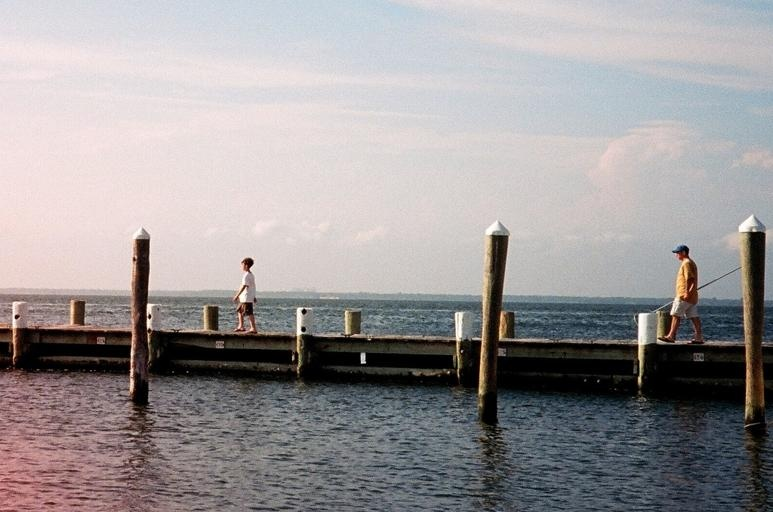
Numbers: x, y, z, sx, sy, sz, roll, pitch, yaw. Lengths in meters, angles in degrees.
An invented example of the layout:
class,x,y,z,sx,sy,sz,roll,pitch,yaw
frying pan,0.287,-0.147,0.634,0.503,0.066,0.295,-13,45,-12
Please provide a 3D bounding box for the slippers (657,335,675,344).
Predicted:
class,x,y,z,sx,sy,sz,roll,pitch,yaw
slippers,8.338,2.458,55.880,0.611,0.180,0.237,6,-1,30
